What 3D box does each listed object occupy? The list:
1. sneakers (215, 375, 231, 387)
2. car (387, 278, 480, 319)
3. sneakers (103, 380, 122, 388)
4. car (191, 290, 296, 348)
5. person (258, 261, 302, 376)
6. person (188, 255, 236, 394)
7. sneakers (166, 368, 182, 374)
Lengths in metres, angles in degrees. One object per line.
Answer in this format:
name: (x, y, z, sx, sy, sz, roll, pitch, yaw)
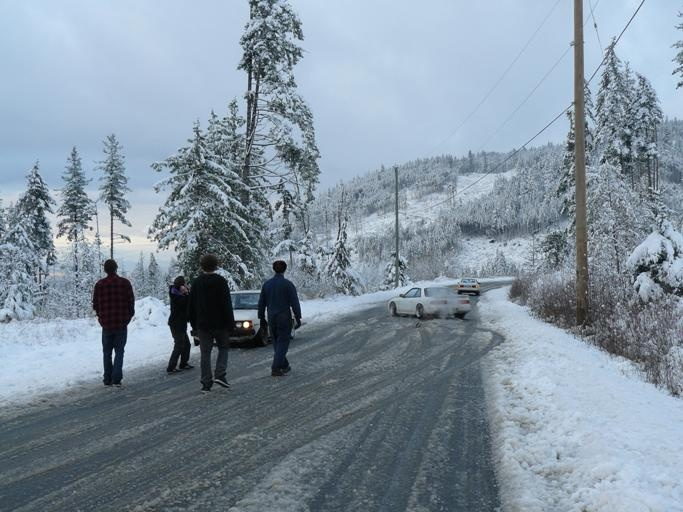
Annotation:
sneakers: (-2.723, 2.898, 14.484, 0.156, 0.229, 0.448, -5, -18, 11)
car: (3.345, 1.848, 25.870, 1.405, 1.099, 3.094, 0, 1, -26)
sneakers: (-5.368, 2.999, 14.718, 0.356, 0.178, 0.182, 10, 23, 9)
car: (-2.876, 1.928, 18.954, 1.488, 1.317, 2.943, -1, -5, 8)
person: (-1.507, 1.502, 15.536, 0.878, 2.743, 1.009, -8, 14, -32)
person: (-2.999, 1.561, 14.609, 0.968, 3.158, 1.251, -5, 13, -18)
sneakers: (-4.257, 2.914, 15.939, 0.324, 0.161, 0.111, -6, 5, -12)
